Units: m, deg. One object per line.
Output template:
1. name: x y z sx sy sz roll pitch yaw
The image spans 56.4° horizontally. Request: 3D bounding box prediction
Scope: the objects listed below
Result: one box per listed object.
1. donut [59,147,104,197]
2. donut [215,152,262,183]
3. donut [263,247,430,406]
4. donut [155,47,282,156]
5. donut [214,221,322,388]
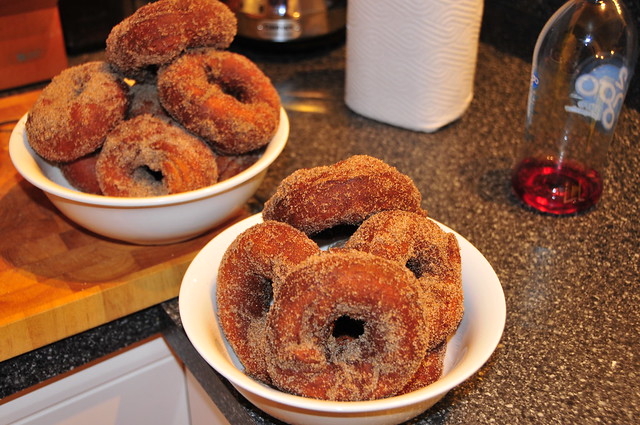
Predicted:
1. donut: -0.404 -0.068 1.010 0.071 0.024 0.075 9 97 8
2. donut: -0.145 -0.082 1.044 0.054 0.014 0.059 5 27 27
3. donut: 0.035 0.145 0.761 0.204 0.098 0.168 3 57 4
4. donut: -0.160 -0.189 0.998 0.175 0.071 0.191 -6 76 -26
5. donut: -0.069 0.116 0.824 0.223 0.075 0.218 -3 61 51
